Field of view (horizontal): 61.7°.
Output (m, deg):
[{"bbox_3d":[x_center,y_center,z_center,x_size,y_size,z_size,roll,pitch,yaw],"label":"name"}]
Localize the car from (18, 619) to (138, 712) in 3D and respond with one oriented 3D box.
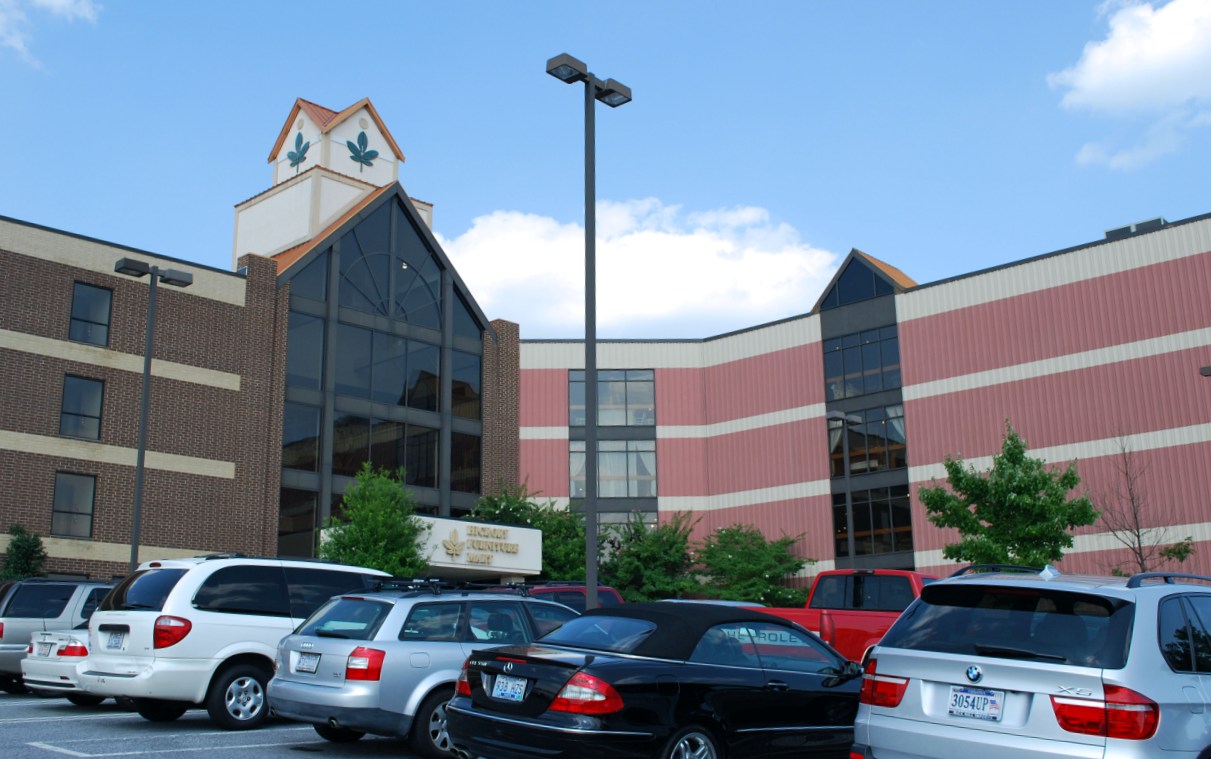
[{"bbox_3d":[-10.062,5.324,19.499,1.195,0.964,2.390,-1,-14,7],"label":"car"}]
